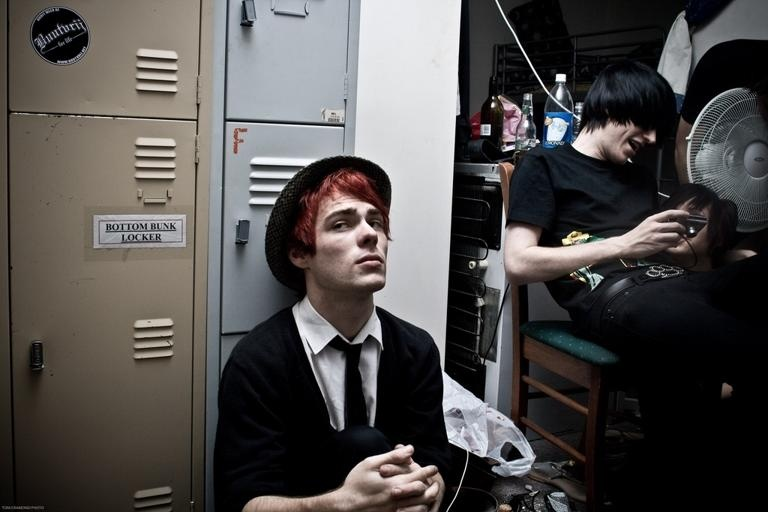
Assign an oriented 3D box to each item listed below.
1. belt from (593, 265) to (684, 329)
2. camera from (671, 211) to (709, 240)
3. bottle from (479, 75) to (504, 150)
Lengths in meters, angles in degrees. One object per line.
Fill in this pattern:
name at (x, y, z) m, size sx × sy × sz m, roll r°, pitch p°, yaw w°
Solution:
belt at (0.628, 0.111, 1.444) m, size 0.164 × 0.059 × 0.122 m, roll -17°, pitch -10°, yaw -10°
camera at (0.484, -0.052, 0.916) m, size 0.040 × 0.039 × 0.030 m, roll 9°, pitch -14°, yaw 35°
bottle at (0.463, -0.621, 2.466) m, size 0.101 × 0.342 × 0.253 m, roll -1°, pitch 3°, yaw 10°
